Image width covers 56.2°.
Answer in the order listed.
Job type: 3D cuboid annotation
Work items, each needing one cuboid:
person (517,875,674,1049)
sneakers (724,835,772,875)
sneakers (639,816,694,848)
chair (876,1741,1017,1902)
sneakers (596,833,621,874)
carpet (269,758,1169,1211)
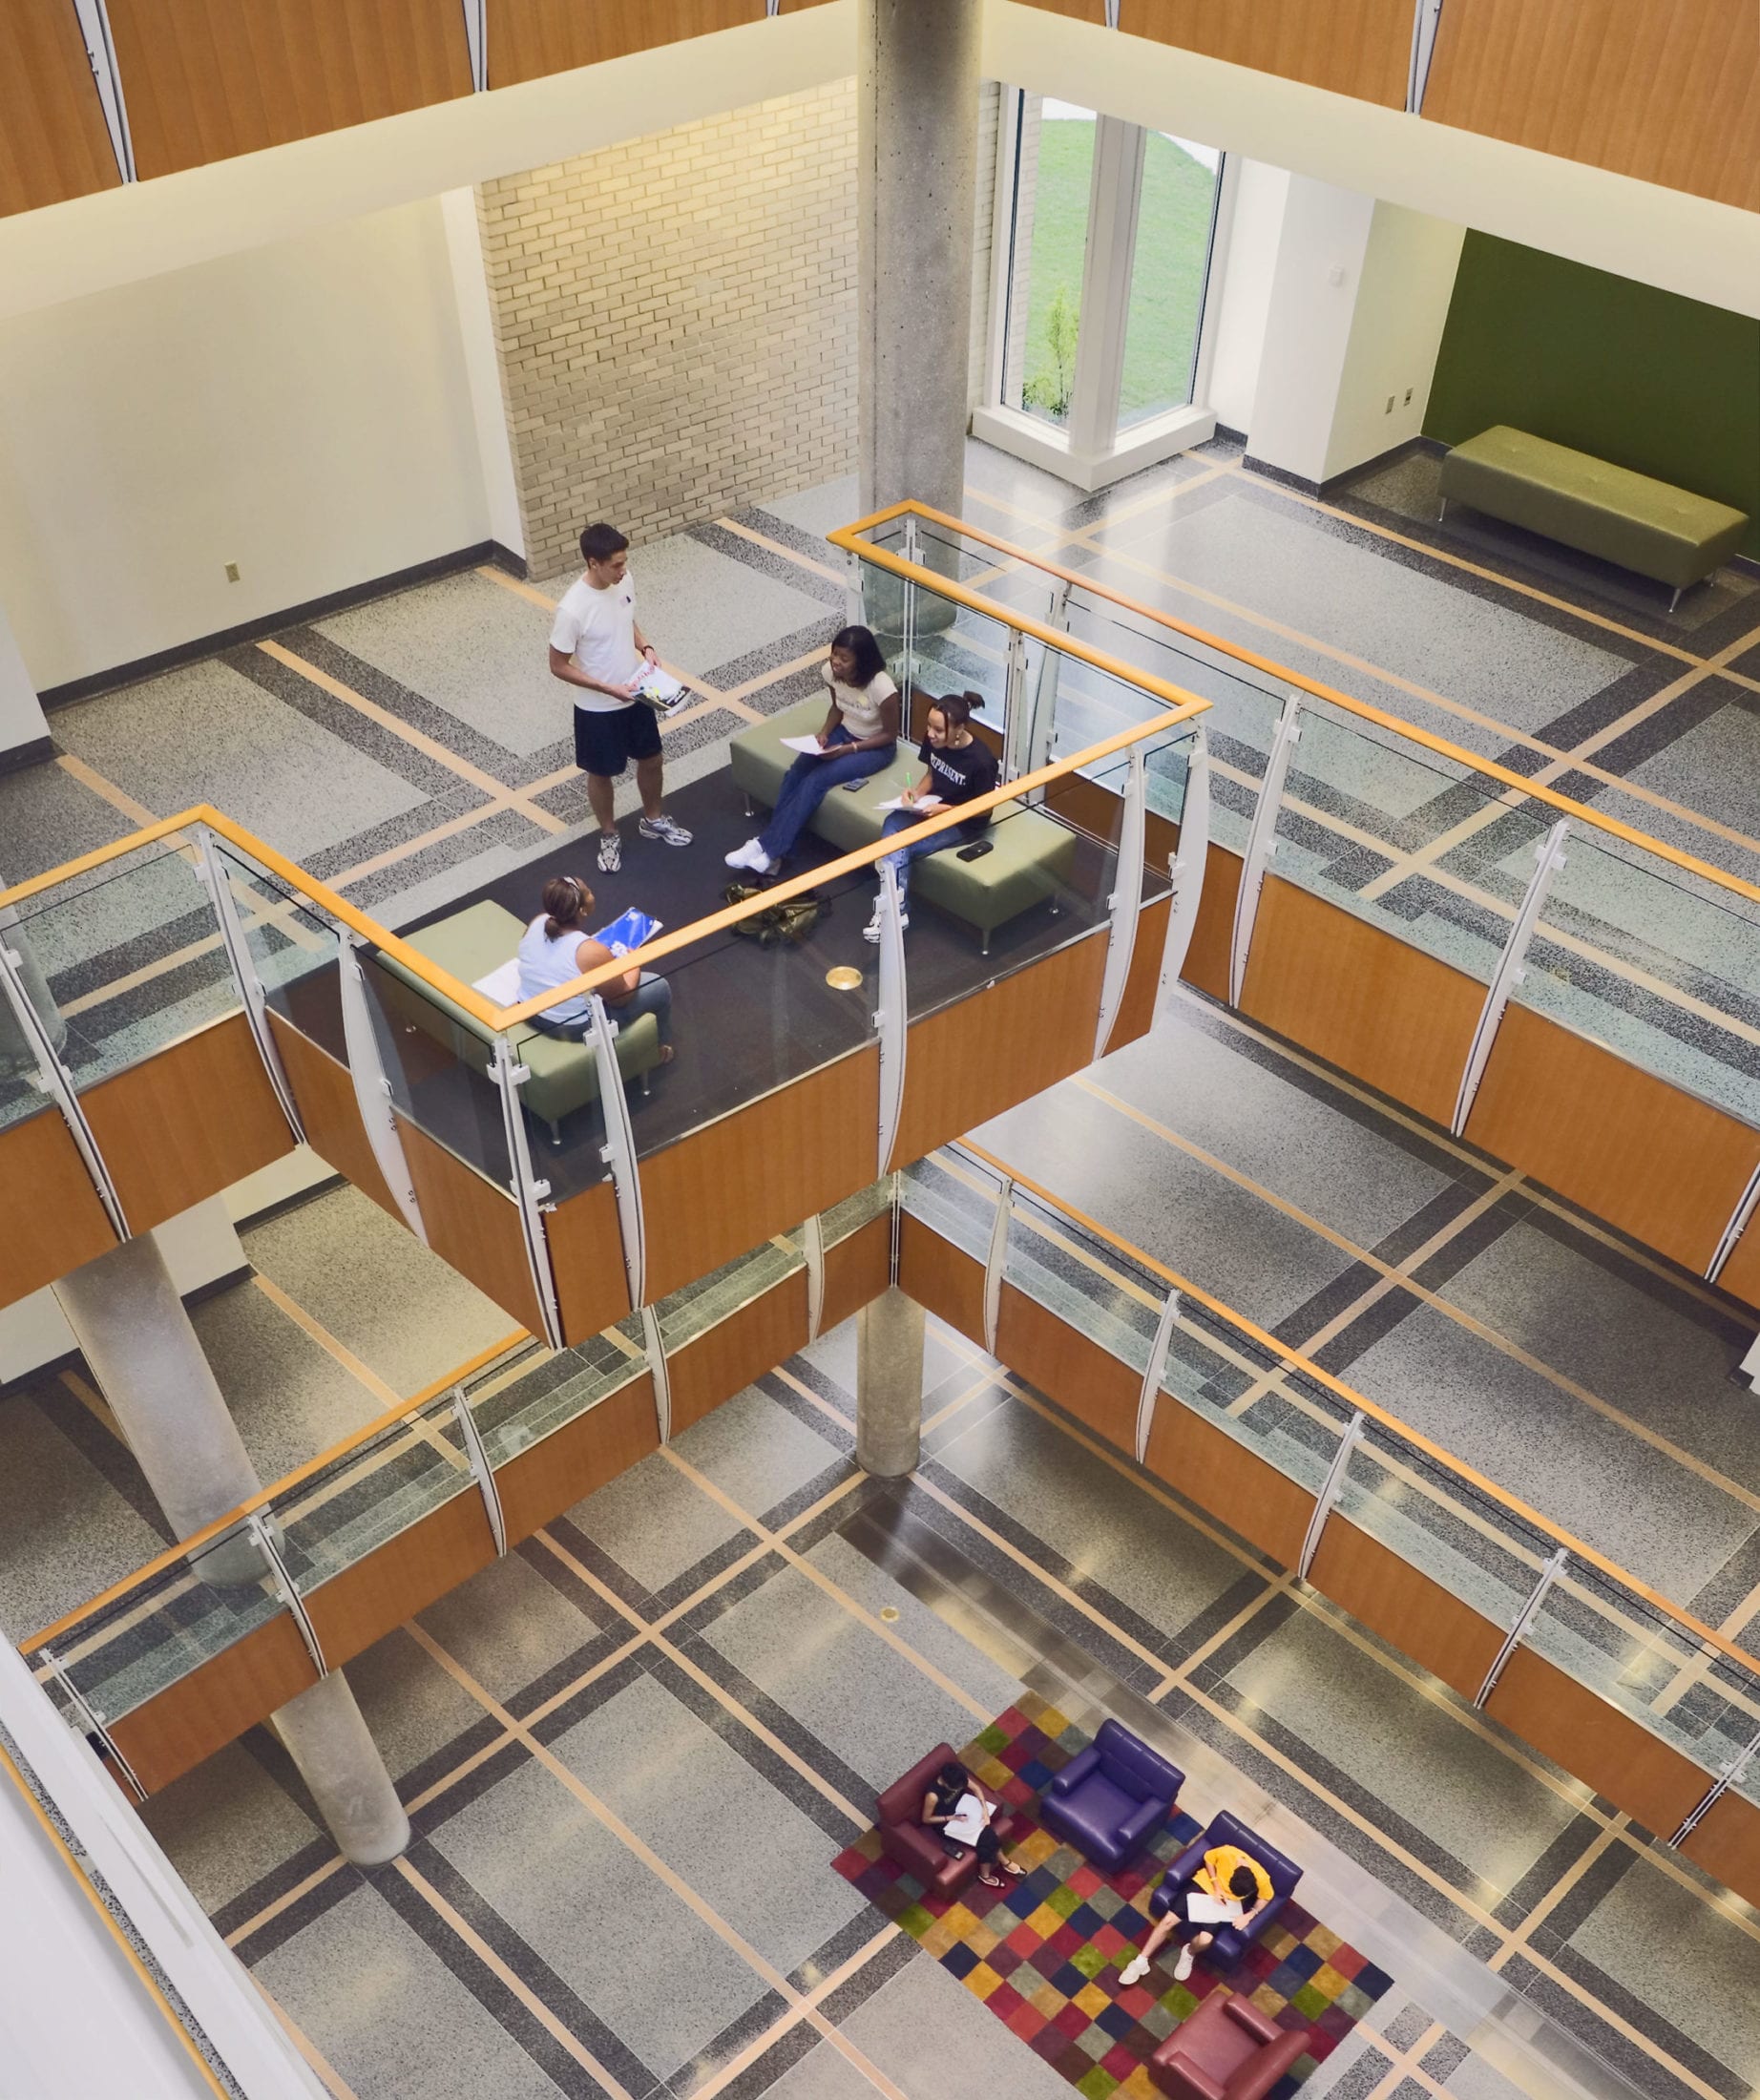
[{"bbox_3d":[-1.399,-0.426,8.137,0.441,0.961,0.609,40,66,15],"label":"person"},{"bbox_3d":[-0.871,-1.284,10.732,0.155,0.183,0.413,-16,42,-30],"label":"sneakers"},{"bbox_3d":[-1.469,-1.511,11.332,0.358,0.140,0.164,13,58,8],"label":"sneakers"},{"bbox_3d":[0.577,5.656,12.015,0.927,0.906,0.927,-36,67,-17],"label":"chair"},{"bbox_3d":[-1.848,-1.320,11.184,0.143,0.131,0.304,-4,61,-3],"label":"sneakers"},{"bbox_3d":[-0.949,-0.454,9.284,1.933,0.043,4.305,37,45,27],"label":"carpet"}]
